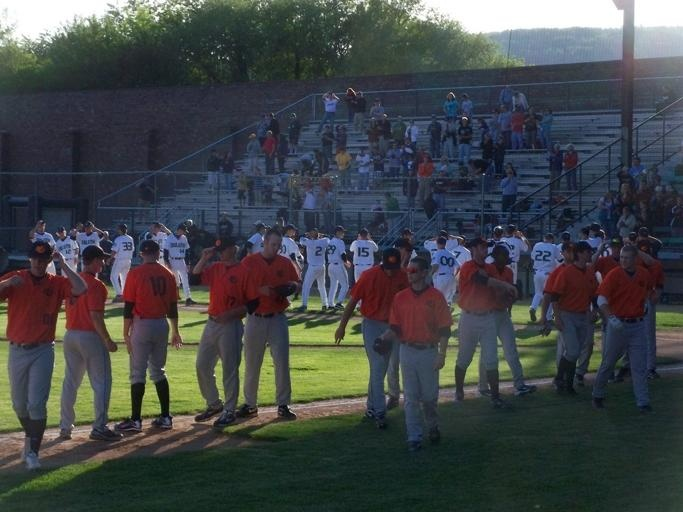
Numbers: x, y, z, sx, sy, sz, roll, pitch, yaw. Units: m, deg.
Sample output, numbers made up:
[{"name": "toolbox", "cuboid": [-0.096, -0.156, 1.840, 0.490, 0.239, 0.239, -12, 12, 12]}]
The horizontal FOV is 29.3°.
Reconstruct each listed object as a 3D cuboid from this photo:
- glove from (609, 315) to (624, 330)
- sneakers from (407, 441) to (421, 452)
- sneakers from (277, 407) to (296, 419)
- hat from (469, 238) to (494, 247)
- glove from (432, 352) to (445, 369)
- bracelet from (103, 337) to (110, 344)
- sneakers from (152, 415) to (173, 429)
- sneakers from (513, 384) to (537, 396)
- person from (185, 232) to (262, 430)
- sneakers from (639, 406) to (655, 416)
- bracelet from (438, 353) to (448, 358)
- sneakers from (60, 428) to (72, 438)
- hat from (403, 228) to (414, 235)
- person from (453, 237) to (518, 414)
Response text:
[{"name": "glove", "cuboid": [6.042, 1.489, 28.699, 0.229, 0.159, 0.374, -24, 33, -11]}, {"name": "sneakers", "cuboid": [1.535, 4.034, 27.403, 0.156, 0.171, 0.405, 1, -13, 4]}, {"name": "sneakers", "cuboid": [-1.185, 3.492, 28.830, 0.419, 0.294, 0.252, -1, 3, 0]}, {"name": "hat", "cuboid": [3.341, -0.315, 30.926, 0.523, 0.165, 0.334, 3, 3, 5]}, {"name": "glove", "cuboid": [2.053, 2.224, 27.375, 0.178, 0.291, 0.257, 7, -16, -3]}, {"name": "bracelet", "cuboid": [-4.944, 1.798, 27.531, 0.043, 0.042, 0.179, 39, -1, -43]}, {"name": "sneakers", "cuboid": [-3.855, 3.657, 28.379, 0.457, 0.225, 0.219, 5, 0, 10]}, {"name": "sneakers", "cuboid": [4.201, 3.092, 29.759, 0.532, 0.242, 0.191, -10, -5, 11]}, {"name": "person", "cuboid": [-2.598, 1.669, 28.610, 1.223, 4.147, 0.637, -1, 3, 8]}, {"name": "sneakers", "cuboid": [6.736, 3.446, 28.723, 0.273, 0.263, 0.163, -3, 0, -5]}, {"name": "bracelet", "cuboid": [2.119, 2.101, 27.331, 0.168, 0.064, 0.168, 1, -1, 22]}, {"name": "sneakers", "cuboid": [-5.875, 3.843, 27.864, 0.274, 0.180, 0.148, 4, -3, 9]}, {"name": "hat", "cuboid": [1.988, -0.685, 38.890, 0.284, 0.142, 0.279, 1, 5, -3]}, {"name": "person", "cuboid": [3.164, 1.494, 29.359, 1.290, 3.782, 0.639, 0, 4, 12]}]
